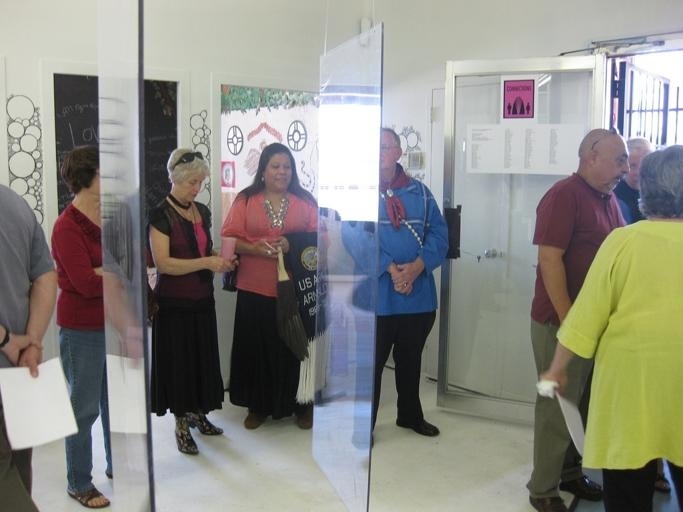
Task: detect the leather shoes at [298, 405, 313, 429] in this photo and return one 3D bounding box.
[{"bbox_3d":[-0.224,0.982,3.469,0.076,0.155,0.152,1,-6,-8],"label":"leather shoes"}]

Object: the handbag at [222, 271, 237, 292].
[{"bbox_3d":[-0.682,0.146,3.456,0.101,0.128,0.068,-4,-32,6],"label":"handbag"}]

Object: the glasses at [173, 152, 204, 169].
[{"bbox_3d":[-0.828,-0.537,3.128,0.096,0.093,0.194,3,8,37],"label":"glasses"}]

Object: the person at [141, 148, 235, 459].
[{"bbox_3d":[-0.864,0.244,3.195,0.483,1.694,0.270,-5,7,-28],"label":"person"}]

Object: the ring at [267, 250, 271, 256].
[{"bbox_3d":[-0.429,-0.027,3.340,0.033,0.035,0.010,0,2,0],"label":"ring"}]

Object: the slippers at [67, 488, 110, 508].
[{"bbox_3d":[-1.225,1.134,2.727,0.195,0.087,0.077,4,9,16],"label":"slippers"}]

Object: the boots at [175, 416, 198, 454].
[{"bbox_3d":[-0.891,0.995,3.200,0.080,0.164,0.222,-3,20,-40],"label":"boots"}]

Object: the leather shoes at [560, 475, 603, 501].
[{"bbox_3d":[1.190,1.143,2.778,0.172,0.085,0.095,2,8,26],"label":"leather shoes"}]

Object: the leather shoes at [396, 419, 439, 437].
[{"bbox_3d":[0.469,1.027,3.480,0.254,0.120,0.091,-2,1,28],"label":"leather shoes"}]

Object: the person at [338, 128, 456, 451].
[{"bbox_3d":[0.362,0.187,3.247,0.578,1.805,0.288,-6,8,-40],"label":"person"}]
